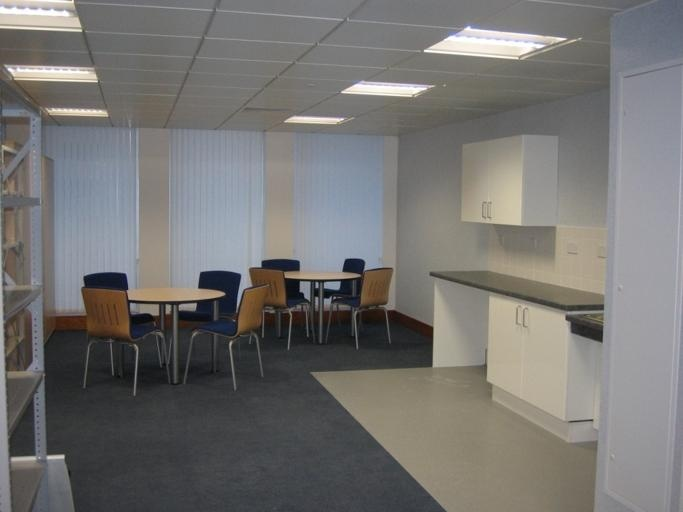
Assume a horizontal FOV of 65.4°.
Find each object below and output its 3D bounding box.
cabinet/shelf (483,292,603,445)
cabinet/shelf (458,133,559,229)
[{"bbox_3d":[1.893,1.021,5.048,0.339,1.187,1.062,-3,7,-29],"label":"cabinet/shelf"},{"bbox_3d":[1.942,-0.853,6.080,0.443,1.056,1.192,1,1,-19],"label":"cabinet/shelf"}]
